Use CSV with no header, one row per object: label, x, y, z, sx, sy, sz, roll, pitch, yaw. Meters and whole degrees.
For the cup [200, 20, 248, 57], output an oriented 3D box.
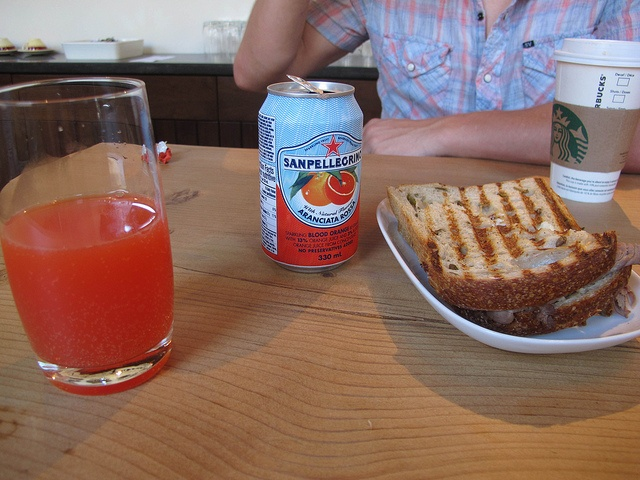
cup,-0.597,-1.232,3.301,0.319,0.195,0.350,2,26,-1
